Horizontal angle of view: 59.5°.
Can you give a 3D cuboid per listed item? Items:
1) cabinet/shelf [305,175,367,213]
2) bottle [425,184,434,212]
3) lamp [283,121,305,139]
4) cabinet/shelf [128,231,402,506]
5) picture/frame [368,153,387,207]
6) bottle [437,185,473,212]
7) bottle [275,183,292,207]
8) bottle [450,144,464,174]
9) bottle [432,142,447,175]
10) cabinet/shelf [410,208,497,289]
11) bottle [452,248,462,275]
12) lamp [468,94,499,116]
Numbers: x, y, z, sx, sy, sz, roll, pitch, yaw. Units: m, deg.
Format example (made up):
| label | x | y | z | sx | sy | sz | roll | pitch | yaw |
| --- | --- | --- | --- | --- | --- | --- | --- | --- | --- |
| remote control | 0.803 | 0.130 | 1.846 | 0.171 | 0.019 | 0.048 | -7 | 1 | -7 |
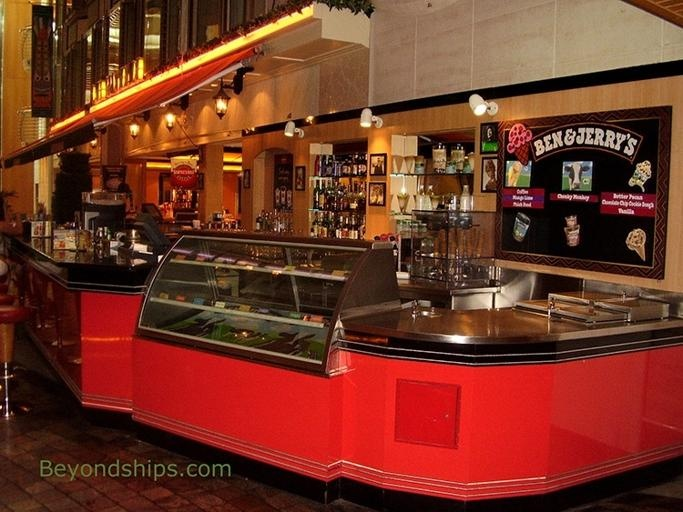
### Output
| label | x | y | z | sx | sy | sz | roll | pitch | yaw |
| --- | --- | --- | --- | --- | --- | --- | --- | --- | --- |
| cabinet/shelf | -0.105 | -0.898 | 8.652 | 0.875 | 0.487 | 0.261 | -2 | 8 | -22 |
| bottle | 1.065 | -0.719 | 7.225 | 0.092 | 0.294 | 0.315 | 2 | 5 | 7 |
| lamp | -0.721 | -1.839 | 8.770 | 0.216 | 0.259 | 0.346 | 1 | -5 | 37 |
| cabinet/shelf | -0.674 | 0.737 | 5.092 | 2.204 | 1.811 | 1.210 | 3 | 2 | 38 |
| picture/frame | 0.451 | -0.958 | 7.616 | 0.108 | 0.673 | 0.410 | -1 | 5 | -27 |
| bottle | 1.287 | -0.599 | 6.612 | 0.366 | 0.222 | 0.346 | 1 | 7 | 0 |
| bottle | -0.929 | -0.971 | 9.610 | 0.048 | 0.348 | 0.416 | 0 | 4 | -34 |
| bottle | 1.318 | -1.104 | 6.840 | 0.187 | 0.319 | 0.161 | 3 | 5 | 21 |
| bottle | 1.161 | -1.149 | 7.031 | 0.195 | 0.355 | 0.157 | 4 | 5 | 30 |
| cabinet/shelf | 1.212 | -0.085 | 6.543 | 0.643 | 0.732 | 0.819 | -2 | 3 | -25 |
| bottle | 1.184 | 0.059 | 6.151 | 0.106 | 0.257 | 0.023 | -1 | 5 | -28 |
| lamp | 1.460 | -1.546 | 6.098 | 0.213 | 0.117 | 0.255 | -28 | -5 | 10 |
